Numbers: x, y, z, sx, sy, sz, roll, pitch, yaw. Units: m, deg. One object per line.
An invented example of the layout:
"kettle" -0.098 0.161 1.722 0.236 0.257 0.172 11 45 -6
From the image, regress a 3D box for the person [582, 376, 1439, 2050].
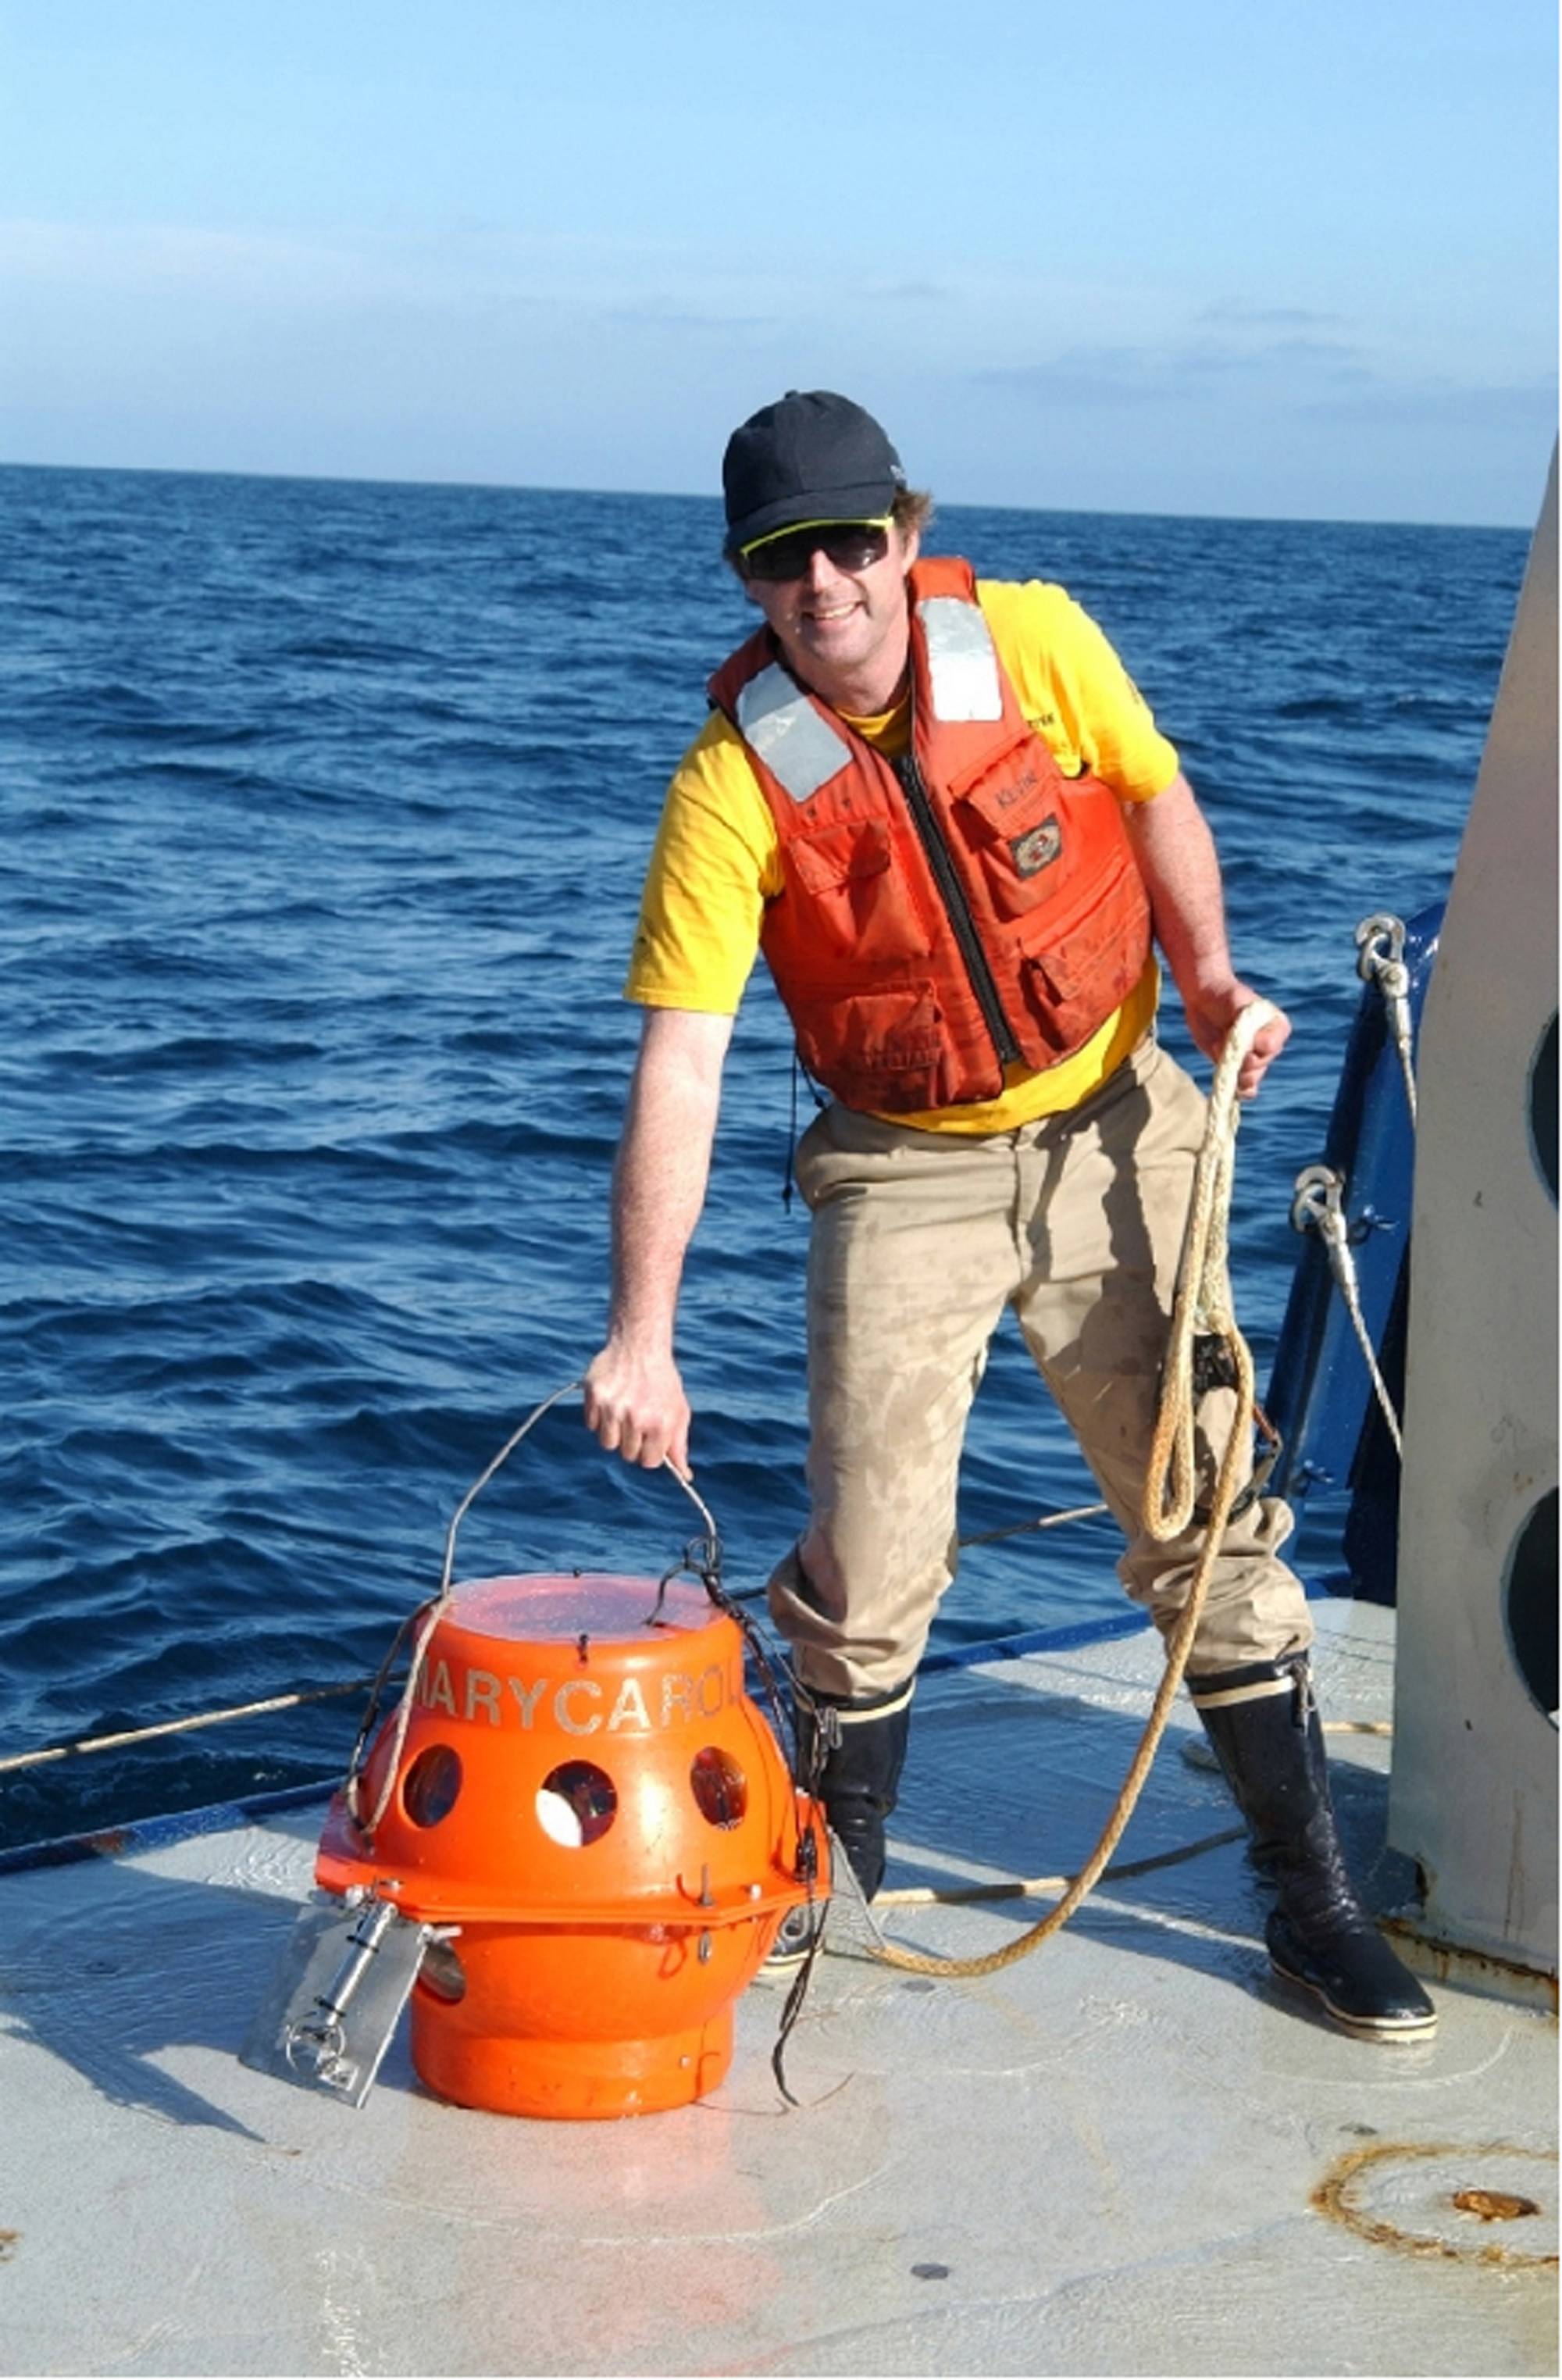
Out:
"person" 0.169 -0.009 3.383 0.944 1.874 0.488 -2 10 -19
